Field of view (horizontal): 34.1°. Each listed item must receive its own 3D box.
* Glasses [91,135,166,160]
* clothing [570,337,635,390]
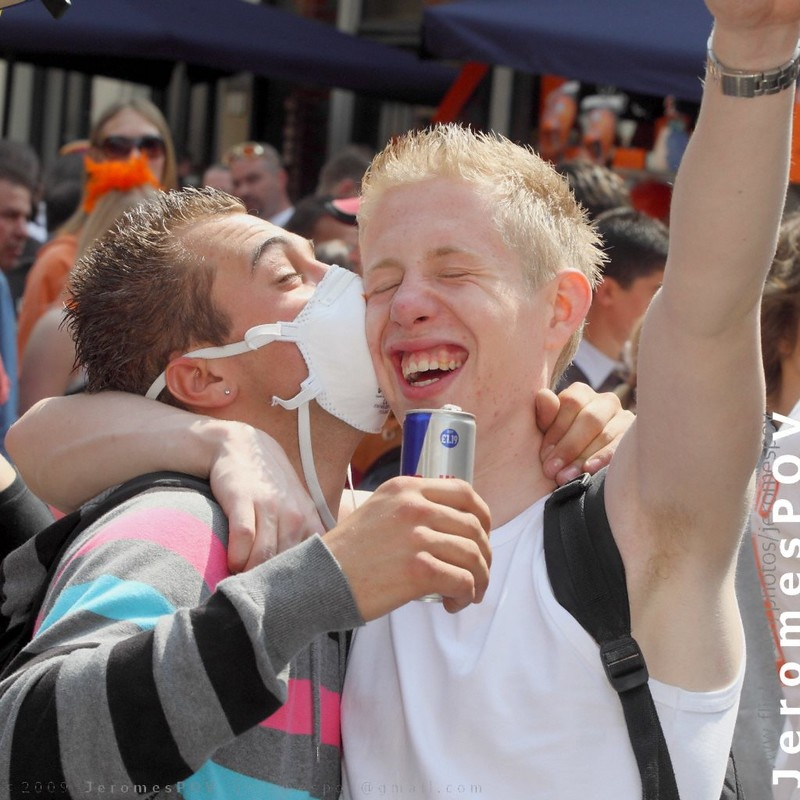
[{"bbox_3d":[-1.443,-1.359,6.930,0.238,0.070,0.238,-1,-12,-28],"label":"Glasses"},{"bbox_3d":[0.985,-0.167,6.065,0.388,0.158,0.459,2,8,14],"label":"clothing"}]
